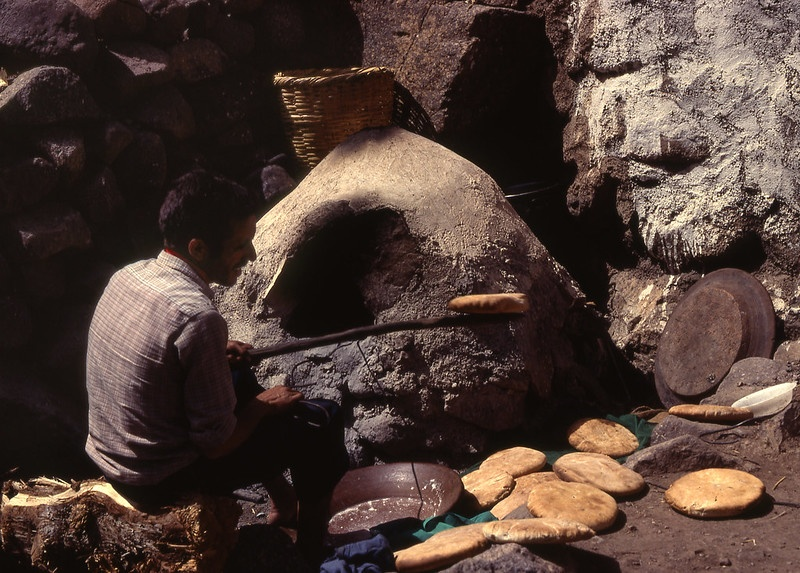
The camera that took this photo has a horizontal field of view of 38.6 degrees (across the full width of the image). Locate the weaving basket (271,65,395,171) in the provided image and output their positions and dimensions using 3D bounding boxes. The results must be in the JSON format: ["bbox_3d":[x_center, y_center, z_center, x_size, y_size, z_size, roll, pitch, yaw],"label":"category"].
[{"bbox_3d":[-0.521,-1.362,8.704,0.791,0.628,0.821,0,14,8],"label":"weaving basket"}]

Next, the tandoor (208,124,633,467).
[{"bbox_3d":[0.355,-0.062,8.364,2.246,1.559,2.334,-3,13,19],"label":"tandoor"}]

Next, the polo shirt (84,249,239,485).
[{"bbox_3d":[-1.316,0.478,6.380,0.678,1.157,1.030,-14,31,-43],"label":"polo shirt"}]

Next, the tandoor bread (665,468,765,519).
[{"bbox_3d":[1.877,1.237,6.855,0.576,0.141,0.316,-12,27,0],"label":"tandoor bread"}]
